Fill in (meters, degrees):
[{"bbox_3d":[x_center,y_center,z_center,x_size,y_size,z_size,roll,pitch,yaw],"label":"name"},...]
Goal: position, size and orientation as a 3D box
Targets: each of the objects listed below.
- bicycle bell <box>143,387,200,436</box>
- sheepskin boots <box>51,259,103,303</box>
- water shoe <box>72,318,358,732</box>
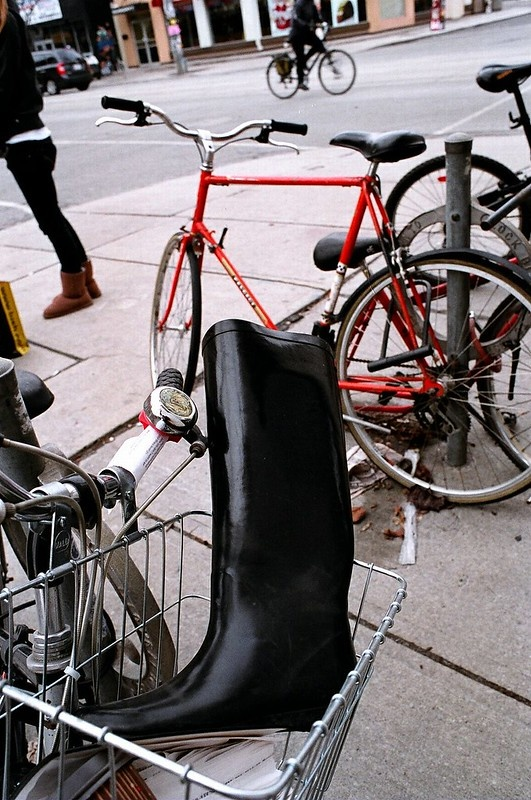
[{"bbox_3d":[-0.145,0.016,1.070,0.075,0.066,0.074,-13,63,-37],"label":"bicycle bell"},{"bbox_3d":[-1.344,-0.868,4.956,0.246,0.221,0.281,10,29,7],"label":"sheepskin boots"},{"bbox_3d":[-0.040,0.148,0.891,0.277,0.340,0.517,-5,32,17],"label":"water shoe"}]
